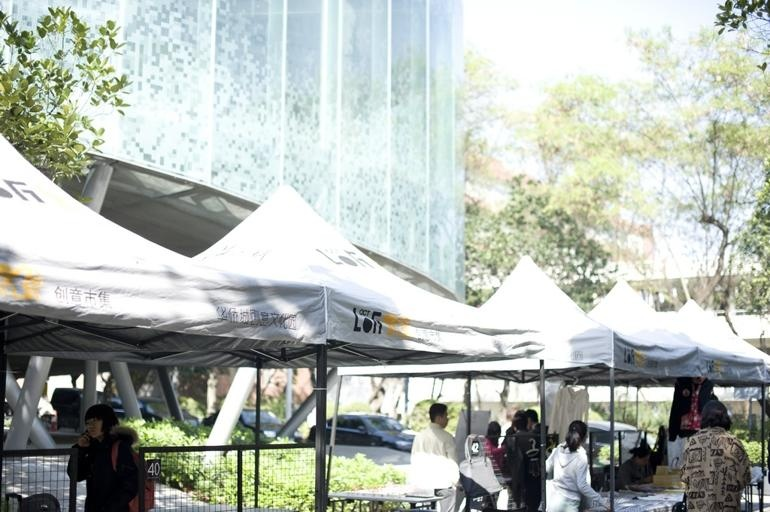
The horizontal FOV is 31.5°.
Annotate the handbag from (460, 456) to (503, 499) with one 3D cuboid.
[{"bbox_3d":[2.075,4.789,29.443,0.788,0.834,0.532,-16,8,14],"label":"handbag"}]

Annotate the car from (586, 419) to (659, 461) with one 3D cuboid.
[{"bbox_3d":[5.408,4.395,32.869,1.663,0.991,1.632,10,-17,-31],"label":"car"}]

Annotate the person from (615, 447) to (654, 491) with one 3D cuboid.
[{"bbox_3d":[5.982,5.222,32.505,0.901,1.327,0.766,9,9,5],"label":"person"}]

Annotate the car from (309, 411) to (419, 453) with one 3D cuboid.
[{"bbox_3d":[-0.572,5.546,44.938,4.047,1.423,1.885,-3,-9,13],"label":"car"}]

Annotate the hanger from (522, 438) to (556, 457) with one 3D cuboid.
[{"bbox_3d":[3.499,4.276,30.623,0.536,0.323,0.525,0,-1,-32],"label":"hanger"}]
